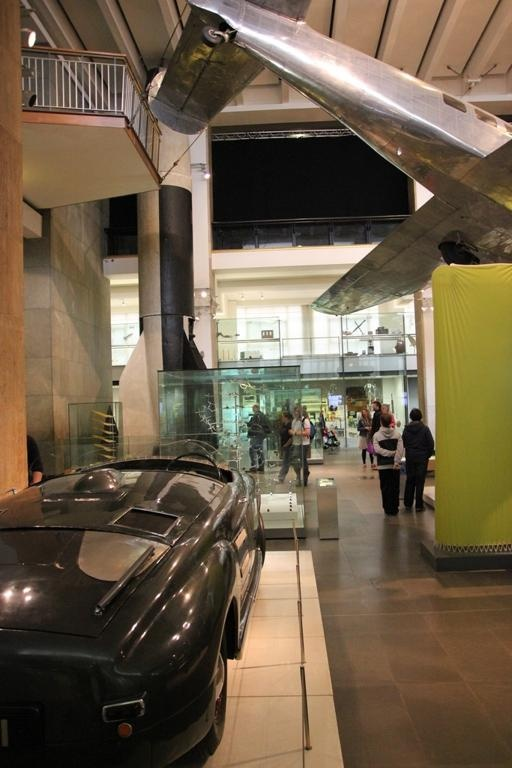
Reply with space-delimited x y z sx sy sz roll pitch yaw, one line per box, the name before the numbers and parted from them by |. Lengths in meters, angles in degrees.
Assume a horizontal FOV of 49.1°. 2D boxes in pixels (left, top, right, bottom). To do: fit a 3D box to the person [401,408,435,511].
person | 2.363 1.175 8.333 0.446 1.624 0.740 9 9 19
